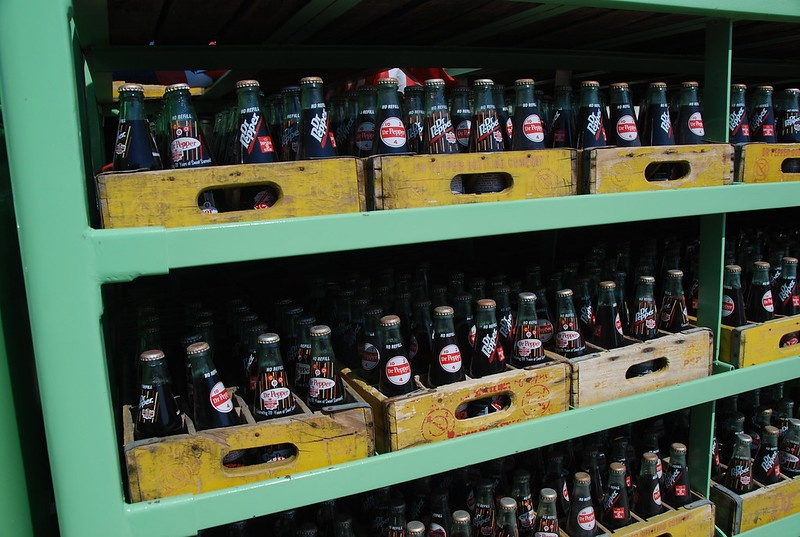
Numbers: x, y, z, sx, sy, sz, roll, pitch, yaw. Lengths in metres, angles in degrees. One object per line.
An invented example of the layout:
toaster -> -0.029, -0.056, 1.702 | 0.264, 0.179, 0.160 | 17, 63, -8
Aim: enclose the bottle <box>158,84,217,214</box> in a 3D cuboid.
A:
bottle -> -0.575, -0.353, 1.897 | 0.118, 0.284, 0.120 | -12, -10, -2
